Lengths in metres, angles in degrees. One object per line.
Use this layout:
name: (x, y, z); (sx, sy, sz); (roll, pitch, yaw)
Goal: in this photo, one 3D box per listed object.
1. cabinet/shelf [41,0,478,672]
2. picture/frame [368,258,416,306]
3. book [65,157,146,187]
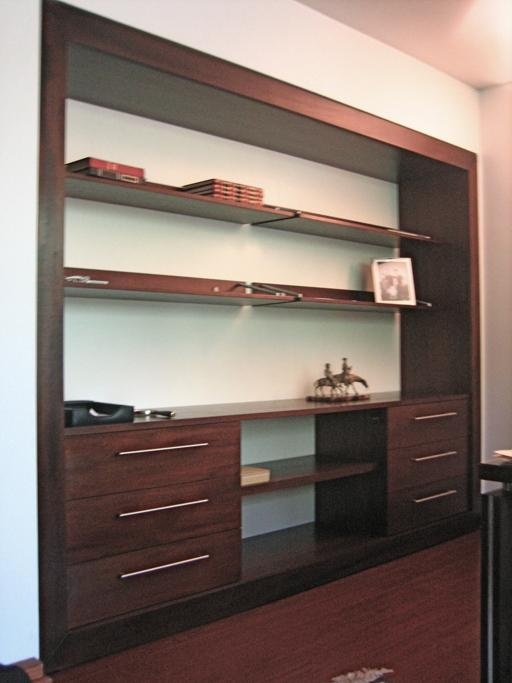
cabinet/shelf: (0.220, -0.006, 2.571); (0.621, 2.323, 2.695); (-3, 0, 43)
picture/frame: (0.772, -0.342, 3.190); (0.333, 0.311, 0.026); (5, -20, -21)
book: (-0.503, -0.571, 1.896); (0.249, 0.079, 0.135); (-2, 0, -34)
